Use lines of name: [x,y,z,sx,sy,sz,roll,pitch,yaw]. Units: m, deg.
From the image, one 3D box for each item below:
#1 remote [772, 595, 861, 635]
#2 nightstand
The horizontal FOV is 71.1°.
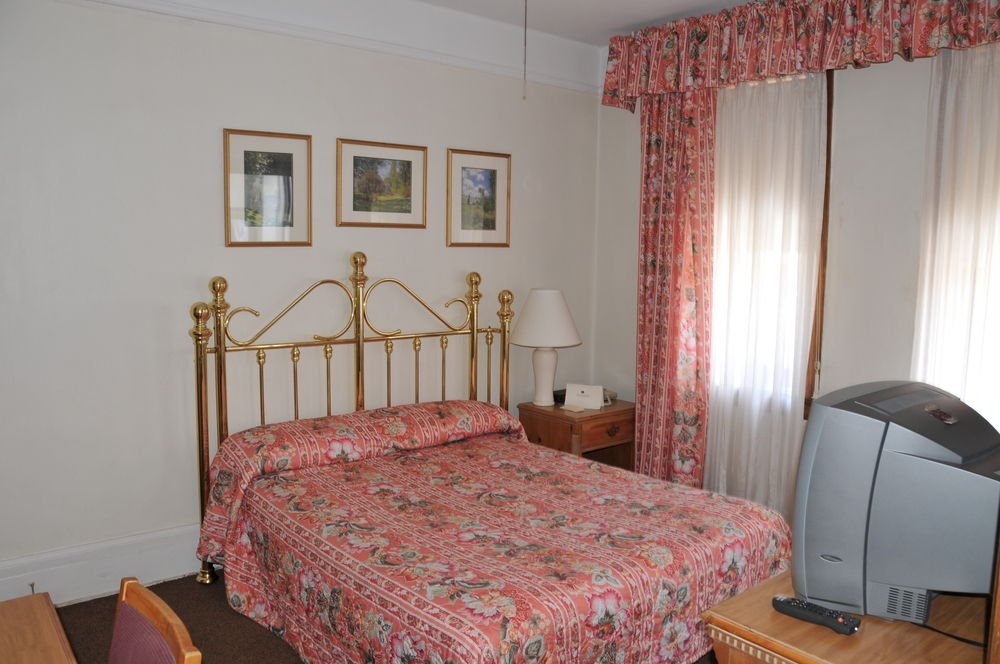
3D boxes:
remote: [1.020,0.908,2.289,0.270,0.066,0.093,7,27,40]
nightstand: [0.564,0.648,5.016,0.526,0.764,0.722,7,8,42]
